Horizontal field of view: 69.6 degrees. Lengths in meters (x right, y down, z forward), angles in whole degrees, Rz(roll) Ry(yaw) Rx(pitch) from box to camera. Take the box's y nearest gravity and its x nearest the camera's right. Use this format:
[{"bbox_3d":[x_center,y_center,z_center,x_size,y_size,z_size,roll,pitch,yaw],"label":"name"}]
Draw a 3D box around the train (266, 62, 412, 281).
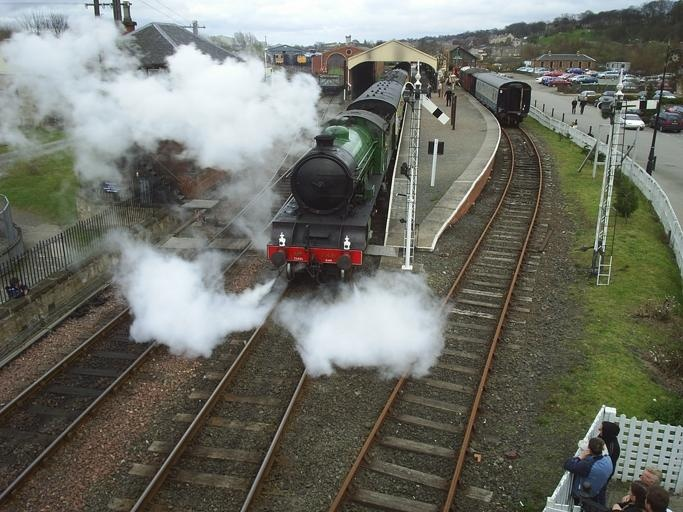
[{"bbox_3d":[-0.194,-3.194,15.984,2.415,3.128,13.200,4,35,7],"label":"train"}]
